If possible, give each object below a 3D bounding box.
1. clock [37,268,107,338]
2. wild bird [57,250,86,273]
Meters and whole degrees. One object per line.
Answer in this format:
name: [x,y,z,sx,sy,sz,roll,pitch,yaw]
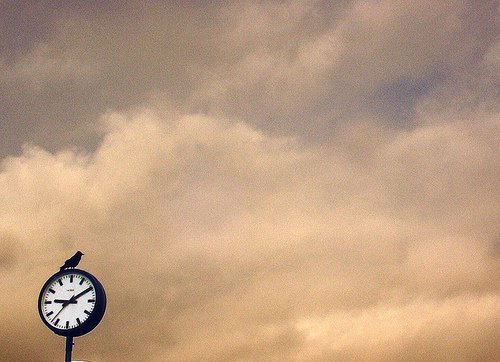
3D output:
clock: [-1.082,0.749,6.968,0.435,0.372,0.112,11,-12,5]
wild bird: [-1.089,0.477,6.997,0.183,0.127,0.081,-7,-33,-9]
